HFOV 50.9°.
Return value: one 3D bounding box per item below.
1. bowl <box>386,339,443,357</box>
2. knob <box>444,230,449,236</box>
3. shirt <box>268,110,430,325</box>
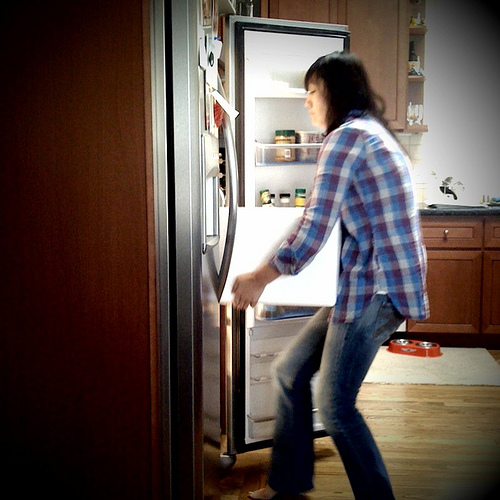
[{"bbox_3d":[1.073,0.646,3.531,0.358,0.058,0.247,2,7,15],"label":"bowl"},{"bbox_3d":[1.256,-0.131,3.464,0.019,0.043,0.022,4,-3,-15],"label":"knob"},{"bbox_3d":[0.337,-0.093,1.647,0.386,0.859,0.567,2,1,26],"label":"shirt"}]
